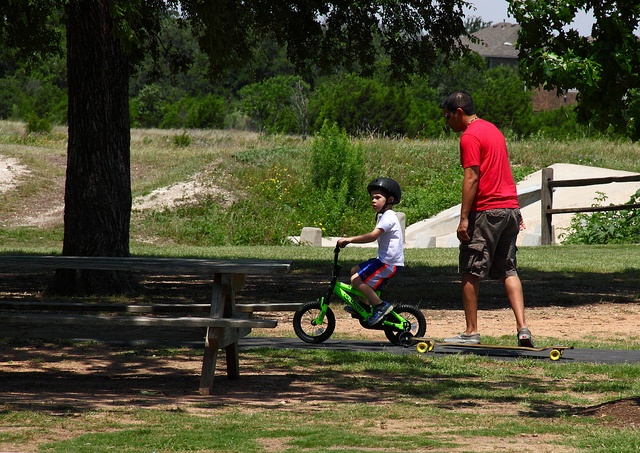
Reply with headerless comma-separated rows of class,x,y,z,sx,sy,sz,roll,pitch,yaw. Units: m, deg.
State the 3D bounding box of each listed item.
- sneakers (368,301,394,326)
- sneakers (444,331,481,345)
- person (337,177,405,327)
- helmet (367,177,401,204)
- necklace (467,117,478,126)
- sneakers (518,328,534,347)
sneakers,0.908,1.371,20.448,0.245,0.524,0.191,40,25,-21
sneakers,2.213,1.743,20.111,0.555,0.198,0.195,2,-6,8
person,0.852,0.401,20.289,0.878,2.355,0.618,0,5,-5
helmet,1.005,-0.575,20.431,0.496,0.363,0.386,-10,30,-37
necklace,2.386,-1.650,20.012,0.093,0.023,0.098,-32,11,47
sneakers,3.147,1.713,19.761,0.163,0.164,0.369,-7,-32,12
